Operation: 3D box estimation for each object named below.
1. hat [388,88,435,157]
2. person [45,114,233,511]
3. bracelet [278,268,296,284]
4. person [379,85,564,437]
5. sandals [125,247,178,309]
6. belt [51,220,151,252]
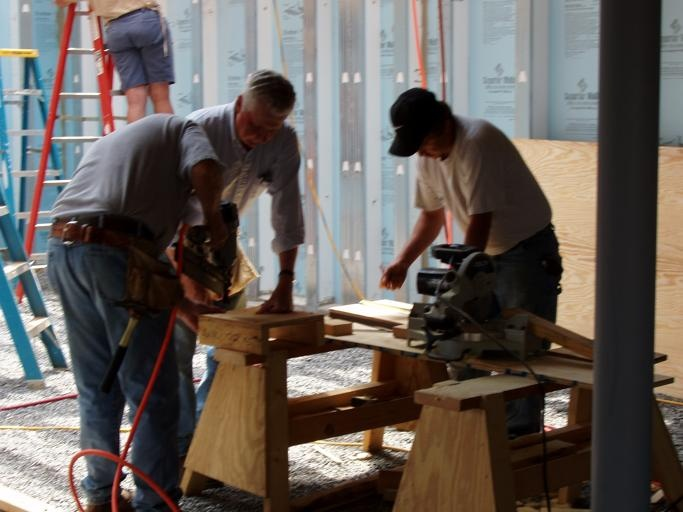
[{"bbox_3d":[0.336,-0.626,3.309,0.230,0.310,0.157,-3,7,6],"label":"hat"},{"bbox_3d":[-0.810,0.289,2.953,0.696,1.733,0.468,-7,8,-22],"label":"person"},{"bbox_3d":[-0.259,0.100,3.391,0.074,0.064,0.066,4,-7,0],"label":"bracelet"},{"bbox_3d":[0.629,-0.232,3.529,0.866,1.185,0.630,-2,8,16],"label":"person"},{"bbox_3d":[-0.758,0.092,2.832,0.205,0.256,0.093,-6,8,-16],"label":"sandals"},{"bbox_3d":[-0.936,-0.074,2.848,0.354,0.139,0.082,-4,7,-5],"label":"belt"}]
